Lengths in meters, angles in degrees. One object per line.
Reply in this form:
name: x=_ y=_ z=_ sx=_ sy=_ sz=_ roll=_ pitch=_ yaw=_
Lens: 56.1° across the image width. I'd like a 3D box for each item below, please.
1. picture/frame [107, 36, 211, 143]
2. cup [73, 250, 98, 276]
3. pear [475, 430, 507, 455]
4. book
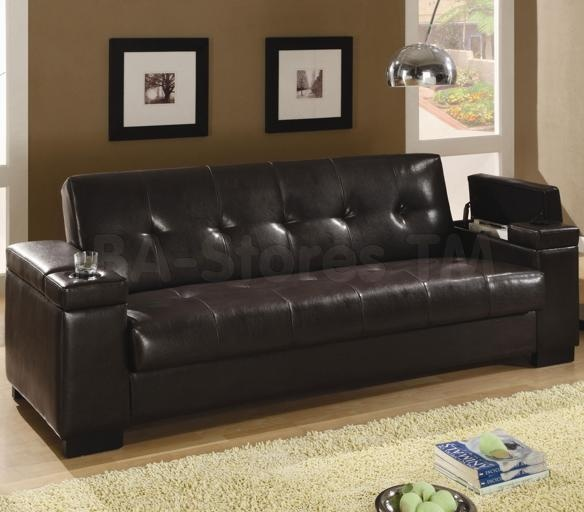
picture/frame: x=-0.857 y=-1.053 z=3.416 sx=0.785 sy=0.697 sz=0.062 roll=-2 pitch=6 yaw=-24
cup: x=-0.764 y=0.026 z=2.073 sx=0.098 sy=0.084 sz=0.085 roll=0 pitch=4 yaw=-7
pear: x=0.634 y=0.590 z=1.764 sx=0.086 sy=0.063 sz=0.052 roll=24 pitch=38 yaw=21
book: x=0.663 y=0.653 z=1.773 sx=0.241 sy=0.071 sz=0.224 roll=-7 pitch=13 yaw=-30
